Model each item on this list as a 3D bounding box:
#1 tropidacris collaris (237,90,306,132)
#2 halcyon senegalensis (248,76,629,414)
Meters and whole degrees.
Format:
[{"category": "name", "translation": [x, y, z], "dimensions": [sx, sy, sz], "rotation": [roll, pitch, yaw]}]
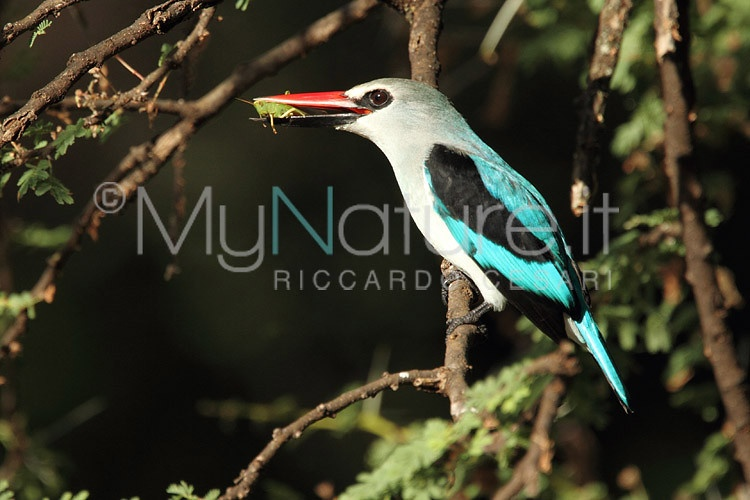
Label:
[{"category": "tropidacris collaris", "translation": [-0.564, -0.794, 5.599], "dimensions": [0.299, 0.236, 0.137], "rotation": [-8, 86, -10]}, {"category": "halcyon senegalensis", "translation": [0.492, -0.231, 5.752], "dimensions": [2.159, 1.508, 0.679], "rotation": [7, 12, 4]}]
